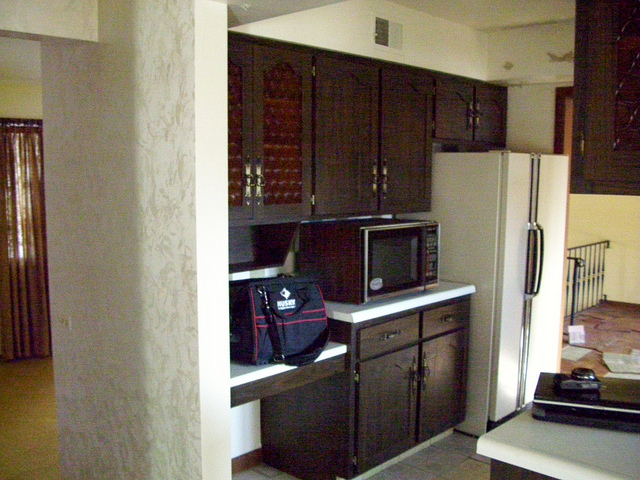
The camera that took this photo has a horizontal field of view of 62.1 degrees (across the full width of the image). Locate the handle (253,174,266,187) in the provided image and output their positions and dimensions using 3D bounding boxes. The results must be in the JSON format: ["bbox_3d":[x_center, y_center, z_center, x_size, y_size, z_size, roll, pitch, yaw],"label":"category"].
[{"bbox_3d":[-0.311,-0.355,2.798,0.016,0.054,0.071,3,6,42],"label":"handle"}]

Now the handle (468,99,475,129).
[{"bbox_3d":[1.151,-1.023,4.046,0.026,0.227,0.090,7,12,38],"label":"handle"}]

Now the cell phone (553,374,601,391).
[{"bbox_3d":[0.892,0.487,1.846,0.098,0.018,0.081,-2,2,-9],"label":"cell phone"}]

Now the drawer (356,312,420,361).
[{"bbox_3d":[0.338,0.544,3.222,0.467,0.126,0.300,-9,6,-28],"label":"drawer"}]

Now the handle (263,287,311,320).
[{"bbox_3d":[-0.114,0.300,2.662,0.155,0.170,0.047,0,-28,-9],"label":"handle"}]

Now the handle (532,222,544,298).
[{"bbox_3d":[1.553,0.125,3.776,0.057,0.559,0.198,3,10,22],"label":"handle"}]

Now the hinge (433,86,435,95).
[{"bbox_3d":[0.808,-1.123,3.756,0.014,0.054,0.005,-9,12,-42],"label":"hinge"}]

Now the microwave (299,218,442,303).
[{"bbox_3d":[0.339,0.074,3.391,0.806,0.351,0.531,-5,9,-43],"label":"microwave"}]

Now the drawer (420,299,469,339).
[{"bbox_3d":[0.913,0.498,3.584,0.342,0.174,0.210,-23,-24,34],"label":"drawer"}]

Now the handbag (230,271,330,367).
[{"bbox_3d":[-0.274,0.421,2.753,0.592,0.418,0.449,-2,-2,-45],"label":"handbag"}]

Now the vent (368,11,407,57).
[{"bbox_3d":[0.426,-1.397,3.401,0.209,0.203,0.411,9,13,39],"label":"vent"}]

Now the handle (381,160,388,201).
[{"bbox_3d":[0.430,-0.436,3.486,0.016,0.253,0.058,6,11,34],"label":"handle"}]

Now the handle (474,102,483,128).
[{"bbox_3d":[1.218,-1.033,4.099,0.031,0.197,0.116,6,11,35],"label":"handle"}]

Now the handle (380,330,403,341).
[{"bbox_3d":[0.423,0.556,3.171,0.224,0.046,0.041,-6,-20,-43],"label":"handle"}]
